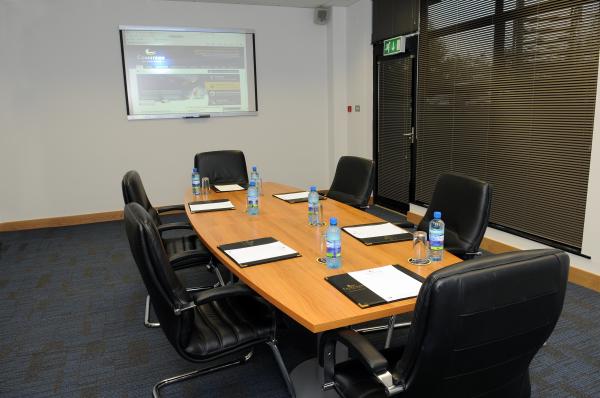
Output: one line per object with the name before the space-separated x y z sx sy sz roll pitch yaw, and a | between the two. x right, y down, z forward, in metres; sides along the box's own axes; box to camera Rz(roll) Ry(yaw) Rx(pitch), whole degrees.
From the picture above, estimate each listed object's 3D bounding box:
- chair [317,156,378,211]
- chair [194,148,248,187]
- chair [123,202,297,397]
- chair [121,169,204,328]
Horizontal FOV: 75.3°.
chair | 0.600 -0.229 4.539 0.653 0.795 0.563 -7 17 -39
chair | -1.106 -0.378 5.451 0.564 0.696 0.580 -2 -3 -16
chair | -0.680 0.524 3.417 1.444 1.918 1.340 -8 18 -23
chair | -1.365 0.385 4.081 0.902 1.251 0.814 1 7 -29
